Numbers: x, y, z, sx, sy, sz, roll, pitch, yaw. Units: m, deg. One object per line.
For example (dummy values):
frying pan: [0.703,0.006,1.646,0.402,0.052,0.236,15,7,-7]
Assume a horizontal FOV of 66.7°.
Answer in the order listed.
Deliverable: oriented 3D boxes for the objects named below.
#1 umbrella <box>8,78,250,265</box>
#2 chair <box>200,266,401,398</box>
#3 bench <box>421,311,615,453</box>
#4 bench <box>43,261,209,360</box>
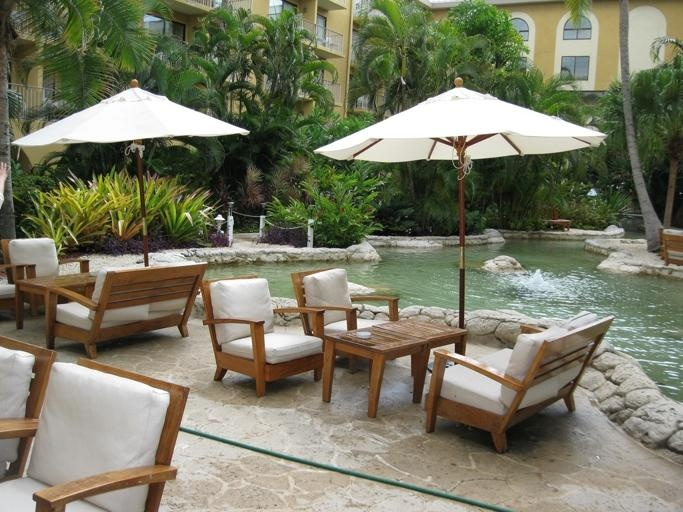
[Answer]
umbrella: [-2.507,-1.160,6.856,2.511,1.621,2.199,-3,12,-5]
chair: [-0.481,0.714,5.423,1.495,1.074,1.148,2,3,36]
bench: [1.634,1.045,4.654,1.060,0.823,1.698,0,2,42]
bench: [-2.559,0.602,6.375,1.028,0.817,1.682,-1,2,22]
